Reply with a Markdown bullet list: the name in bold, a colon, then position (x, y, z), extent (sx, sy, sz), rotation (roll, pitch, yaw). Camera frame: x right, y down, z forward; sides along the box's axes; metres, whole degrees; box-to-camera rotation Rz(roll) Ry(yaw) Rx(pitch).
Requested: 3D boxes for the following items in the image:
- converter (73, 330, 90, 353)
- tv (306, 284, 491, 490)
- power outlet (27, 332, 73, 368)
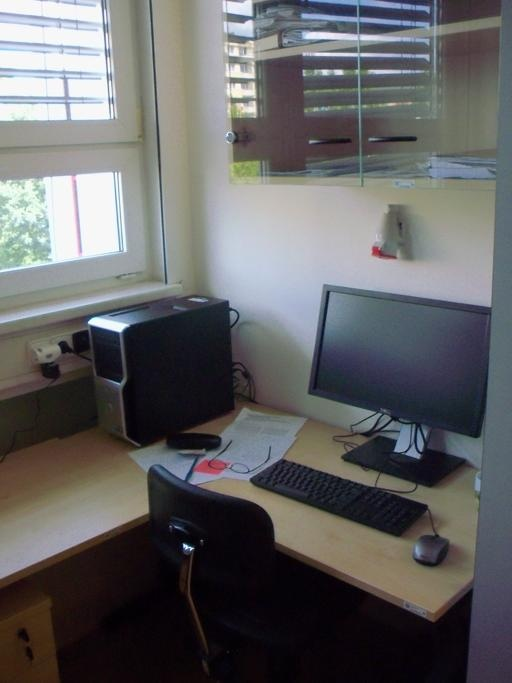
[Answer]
- **converter**: position (-0.607, 0.005, 1.916), extent (0.021, 0.082, 0.070), rotation (10, 21, 33)
- **tv**: position (0.406, 0.121, 1.545), extent (0.498, 0.463, 0.207), rotation (12, 16, 42)
- **power outlet**: position (-0.673, 0.026, 1.834), extent (0.103, 0.057, 0.105), rotation (13, 15, 42)
